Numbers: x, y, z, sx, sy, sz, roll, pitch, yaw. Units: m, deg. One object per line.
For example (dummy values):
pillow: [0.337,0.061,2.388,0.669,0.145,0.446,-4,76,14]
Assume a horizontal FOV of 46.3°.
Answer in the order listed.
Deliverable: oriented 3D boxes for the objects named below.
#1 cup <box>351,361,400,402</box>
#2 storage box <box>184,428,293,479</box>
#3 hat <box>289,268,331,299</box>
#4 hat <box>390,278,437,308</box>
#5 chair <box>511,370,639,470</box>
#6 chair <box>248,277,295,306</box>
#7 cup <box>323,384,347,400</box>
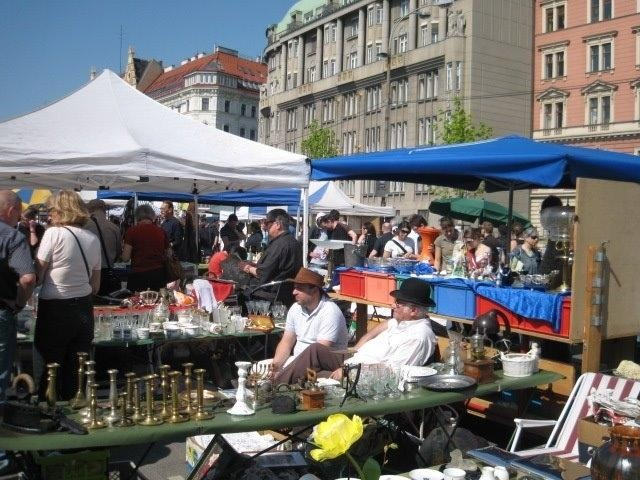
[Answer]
cup: [0.435,1.083,5.711,0.310,0.196,0.257,3,-9,-11]
storage box: [-0.697,1.778,6.408,0.706,0.182,0.667,-1,4,-41]
hat: [-0.087,0.416,6.912,0.293,0.105,0.248,21,-7,-17]
hat: [0.825,0.454,6.537,0.308,0.118,0.274,12,4,11]
chair: [2.063,1.396,5.998,1.011,0.573,0.613,-3,0,-34]
chair: [-0.596,0.655,9.440,0.329,0.420,0.327,23,-14,-5]
cup: [0.113,1.172,5.756,0.111,0.067,0.110,1,-5,0]
